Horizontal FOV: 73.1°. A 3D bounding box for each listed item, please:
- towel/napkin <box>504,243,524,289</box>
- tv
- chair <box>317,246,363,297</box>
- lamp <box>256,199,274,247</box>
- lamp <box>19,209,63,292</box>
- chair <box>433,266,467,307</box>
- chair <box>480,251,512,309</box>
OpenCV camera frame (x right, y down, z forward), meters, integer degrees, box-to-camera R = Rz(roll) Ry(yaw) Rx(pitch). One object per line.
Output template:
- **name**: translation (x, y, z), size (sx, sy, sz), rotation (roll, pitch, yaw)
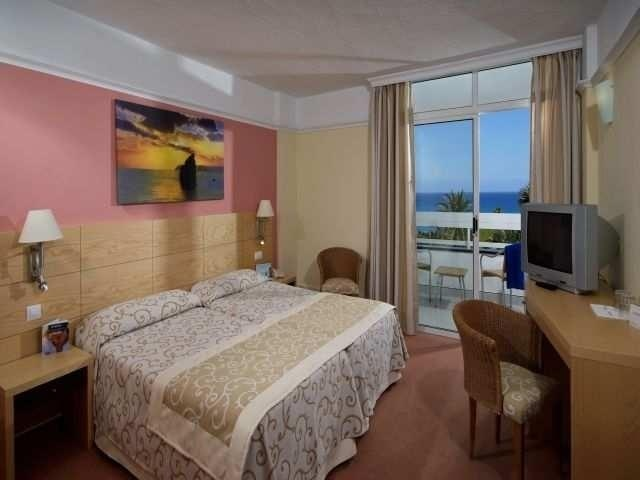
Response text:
- **towel/napkin**: translation (2.059, 0.281, 4.572), size (0.046, 0.472, 0.190), rotation (6, -9, -32)
- **tv**: translation (2.055, 0.030, 3.538), size (0.432, 0.693, 0.778), rotation (-5, 7, -9)
- **chair**: translation (0.245, 0.502, 5.488), size (0.553, 0.770, 0.575), rotation (1, 4, 13)
- **lamp**: translation (-0.694, -0.223, 5.493), size (0.226, 0.581, 0.503), rotation (-3, 6, -6)
- **lamp**: translation (-2.241, 0.086, 3.461), size (0.274, 0.655, 0.296), rotation (7, 9, 36)
- **chair**: translation (1.557, 0.530, 5.155), size (0.451, 0.331, 0.476), rotation (-9, 3, 19)
- **chair**: translation (1.975, 0.387, 4.945), size (0.305, 0.486, 0.301), rotation (2, 2, 37)
